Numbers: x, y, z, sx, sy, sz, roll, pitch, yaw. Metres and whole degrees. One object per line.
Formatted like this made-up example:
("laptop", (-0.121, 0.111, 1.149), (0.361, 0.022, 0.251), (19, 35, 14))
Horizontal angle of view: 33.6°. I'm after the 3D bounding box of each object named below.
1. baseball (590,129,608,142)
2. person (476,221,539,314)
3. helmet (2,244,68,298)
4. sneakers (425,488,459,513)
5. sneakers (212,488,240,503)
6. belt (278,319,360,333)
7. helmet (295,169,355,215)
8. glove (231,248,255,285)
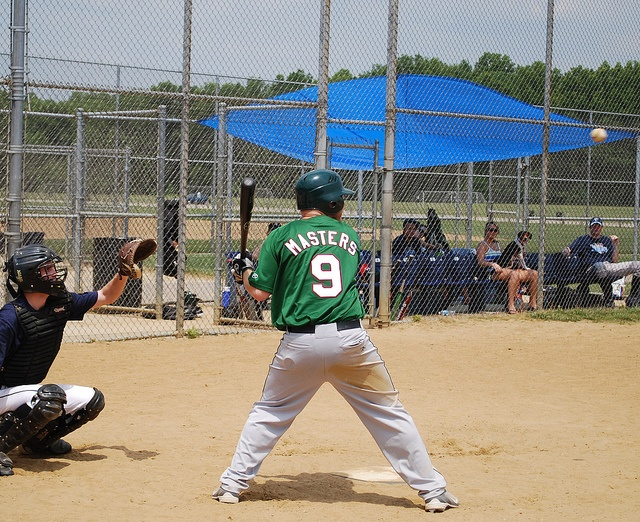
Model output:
("baseball", (3.868, -1.748, 14.846), (0.207, 0.210, 0.203), (0, 6, -2))
("person", (2.582, 0.070, 14.816), (0.797, 1.246, 0.717), (1, 5, 29))
("helmet", (-2.393, 0.076, 9.016), (0.490, 0.448, 0.371), (-8, 10, -9))
("sneakers", (0.954, 1.881, 8.464), (0.310, 0.168, 0.114), (-5, -1, -34))
("sneakers", (-0.744, 1.841, 8.419), (0.094, 0.109, 0.232), (4, 2, -30))
("belt", (0.023, 0.505, 8.335), (0.569, 0.107, 0.105), (0, 12, -3))
("helmet", (0.024, -0.559, 8.593), (0.391, 0.304, 0.302), (11, -7, -25))
("glove", (-0.628, 0.017, 8.669), (0.197, 0.278, 0.101), (-7, -21, 15))
